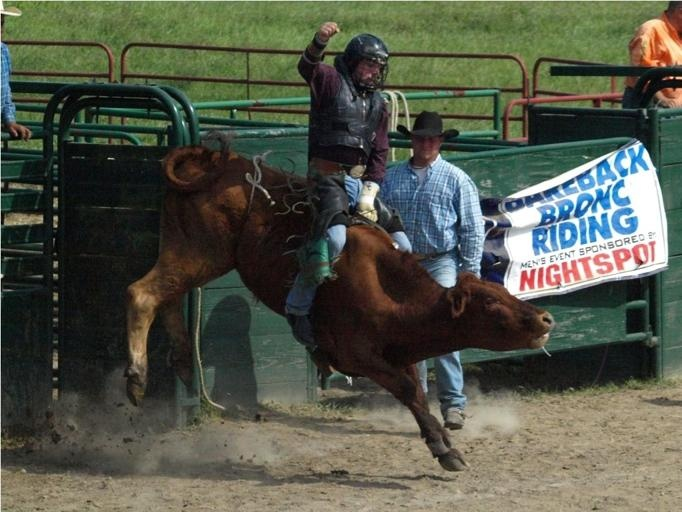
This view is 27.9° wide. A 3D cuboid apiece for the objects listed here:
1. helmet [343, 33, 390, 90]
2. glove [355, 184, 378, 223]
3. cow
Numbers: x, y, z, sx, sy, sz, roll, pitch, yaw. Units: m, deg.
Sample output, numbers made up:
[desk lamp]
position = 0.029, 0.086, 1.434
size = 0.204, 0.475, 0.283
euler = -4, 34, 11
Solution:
[helmet]
position = 0.207, -1.493, 10.542
size = 0.360, 0.362, 0.426
euler = -5, 22, -42
[glove]
position = 0.205, -0.396, 10.393
size = 0.222, 0.261, 0.115
euler = 18, -19, -6
[cow]
position = -0.027, 0.518, 10.526
size = 3.777, 1.960, 1.002
euler = 15, 23, 39
